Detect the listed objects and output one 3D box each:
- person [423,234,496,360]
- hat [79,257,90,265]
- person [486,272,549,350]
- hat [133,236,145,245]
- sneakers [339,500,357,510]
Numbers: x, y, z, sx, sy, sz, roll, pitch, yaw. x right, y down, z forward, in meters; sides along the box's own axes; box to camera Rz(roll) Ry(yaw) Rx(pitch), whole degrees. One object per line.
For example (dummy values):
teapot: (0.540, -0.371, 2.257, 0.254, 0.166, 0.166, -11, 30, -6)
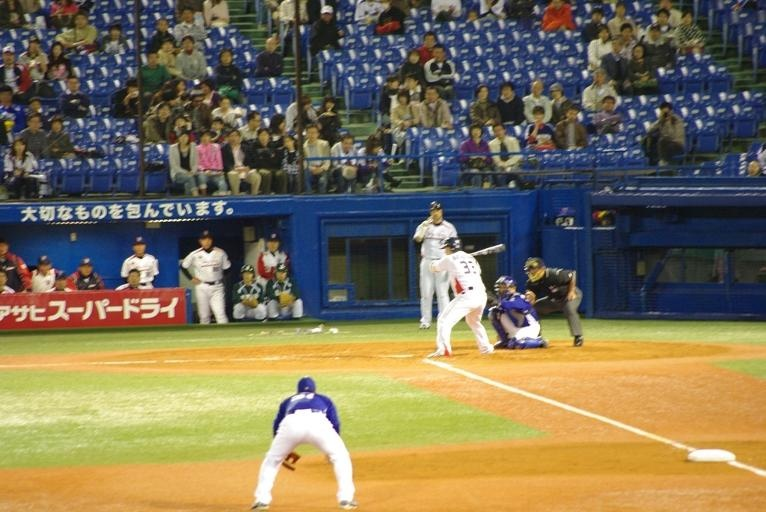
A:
person: (1.597, 0.807, 24.777, 1.180, 2.408, 1.446, -3, -4, 4)
hat: (-7.171, 0.128, 29.648, 0.252, 0.150, 0.247, -1, 6, 1)
person: (2.691, 1.199, 25.168, 1.288, 1.375, 1.408, 0, -2, 42)
hat: (-5.910, -0.367, 29.774, 0.297, 0.204, 0.255, 2, 4, -1)
sneakers: (-0.512, 3.719, 18.264, 0.204, 0.053, 0.188, 0, 1, -17)
